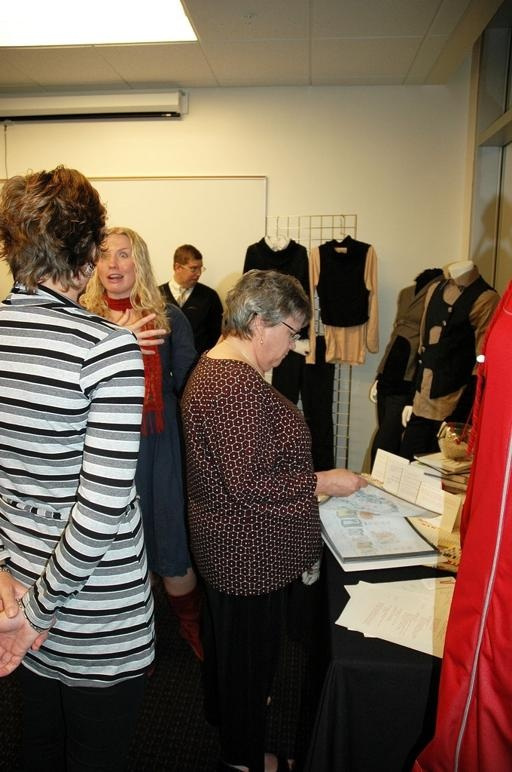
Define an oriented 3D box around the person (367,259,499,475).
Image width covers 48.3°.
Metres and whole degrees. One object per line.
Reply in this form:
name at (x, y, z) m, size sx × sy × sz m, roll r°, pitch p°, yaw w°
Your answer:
person at (0.938, -0.080, 3.033) m, size 0.386 × 1.107 × 0.878 m, roll -5°, pitch 11°, yaw -4°
